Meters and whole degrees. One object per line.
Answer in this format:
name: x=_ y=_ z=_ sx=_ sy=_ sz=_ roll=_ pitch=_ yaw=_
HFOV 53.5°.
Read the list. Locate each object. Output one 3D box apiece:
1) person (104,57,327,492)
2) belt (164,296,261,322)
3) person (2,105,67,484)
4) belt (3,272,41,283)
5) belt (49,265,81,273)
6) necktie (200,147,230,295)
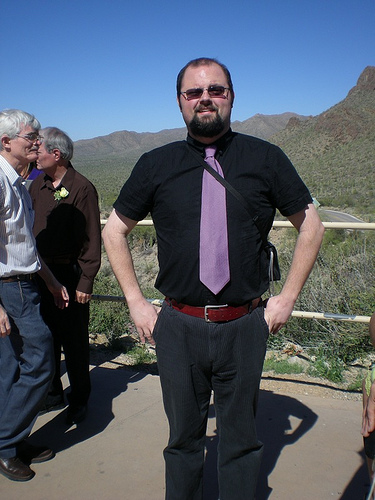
person: x=0.077 y=0.104 z=1.546 sx=0.853 sy=1.765 sz=0.453 roll=6 pitch=10 yaw=23
belt: x=0.078 y=0.223 z=1.394 sx=0.289 sy=0.070 sz=0.080 roll=4 pitch=10 yaw=10
person: x=-0.868 y=0.246 z=2.010 sx=0.284 sy=1.962 sz=0.402 roll=-3 pitch=11 yaw=-27
belt: x=-0.871 y=0.146 z=1.978 sx=0.046 sy=0.051 sz=0.180 roll=7 pitch=11 yaw=28
belt: x=-0.872 y=0.136 z=2.607 sx=0.154 sy=0.047 sz=0.027 roll=0 pitch=10 yaw=-10
necktie: x=0.103 y=-0.074 z=1.366 sx=0.105 sy=0.432 sz=0.175 roll=2 pitch=10 yaw=2
